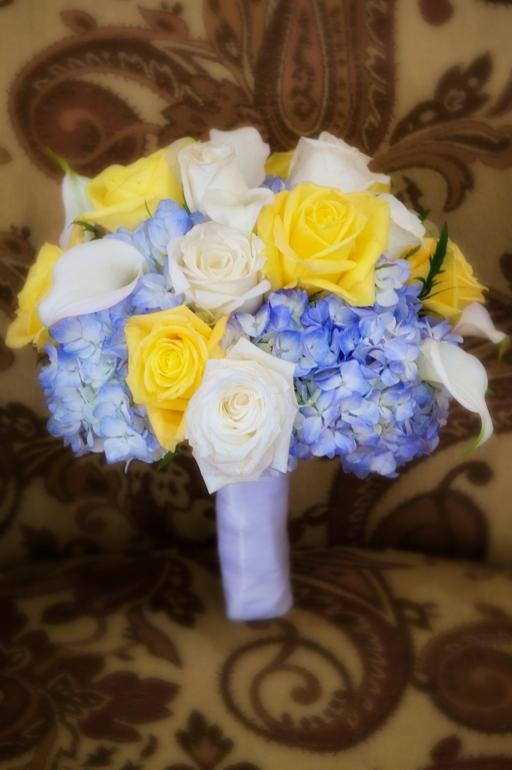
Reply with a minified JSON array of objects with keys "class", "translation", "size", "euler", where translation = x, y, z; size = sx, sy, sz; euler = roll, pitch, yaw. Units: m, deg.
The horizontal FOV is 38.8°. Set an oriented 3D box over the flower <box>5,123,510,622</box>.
[{"class":"flower","translation":[0.015,0.016,0.659],"size":[0.417,0.462,0.274],"euler":[-12,34,-14]}]
